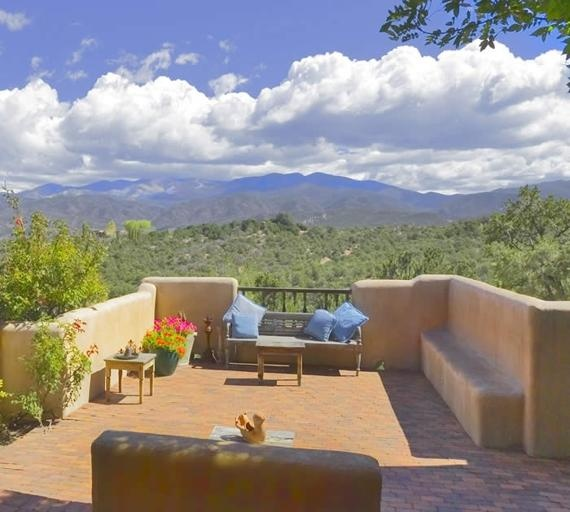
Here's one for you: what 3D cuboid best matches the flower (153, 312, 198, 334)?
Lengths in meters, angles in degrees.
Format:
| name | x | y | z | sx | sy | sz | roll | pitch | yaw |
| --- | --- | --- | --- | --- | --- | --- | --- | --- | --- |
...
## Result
| name | x | y | z | sx | sy | sz | roll | pitch | yaw |
| --- | --- | --- | --- | --- | --- | --- | --- | --- | --- |
| flower | -1.442 | 0.850 | 5.984 | 0.323 | 0.256 | 0.430 | 3 | 0 | 4 |

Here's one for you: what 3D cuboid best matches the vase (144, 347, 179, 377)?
| name | x | y | z | sx | sy | sz | roll | pitch | yaw |
| --- | --- | --- | --- | --- | --- | --- | --- | --- | --- |
| vase | -1.523 | 1.307 | 5.514 | 0.316 | 0.288 | 0.351 | 0 | -8 | -2 |

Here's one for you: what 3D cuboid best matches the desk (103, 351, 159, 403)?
| name | x | y | z | sx | sy | sz | roll | pitch | yaw |
| --- | --- | --- | --- | --- | --- | --- | --- | --- | --- |
| desk | -1.742 | 1.335 | 4.750 | 0.556 | 0.433 | 0.574 | -3 | -12 | 22 |

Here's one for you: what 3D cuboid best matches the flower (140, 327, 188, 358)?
| name | x | y | z | sx | sy | sz | roll | pitch | yaw |
| --- | --- | --- | --- | --- | --- | --- | --- | --- | --- |
| flower | -1.529 | 1.077 | 5.534 | 0.361 | 0.288 | 0.414 | 4 | -9 | -22 |

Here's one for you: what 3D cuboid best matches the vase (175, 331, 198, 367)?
| name | x | y | z | sx | sy | sz | roll | pitch | yaw |
| --- | --- | --- | --- | --- | --- | --- | --- | --- | --- |
| vase | -1.342 | 1.292 | 6.100 | 0.320 | 0.335 | 0.379 | 2 | -3 | 1 |

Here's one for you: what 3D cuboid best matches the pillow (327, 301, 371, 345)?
| name | x | y | z | sx | sy | sz | roll | pitch | yaw |
| --- | --- | --- | --- | --- | --- | --- | --- | --- | --- |
| pillow | 0.831 | 0.876 | 5.897 | 0.460 | 0.453 | 0.528 | 2 | 5 | -8 |

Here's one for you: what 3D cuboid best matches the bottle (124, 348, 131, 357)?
| name | x | y | z | sx | sy | sz | roll | pitch | yaw |
| --- | --- | --- | --- | --- | --- | --- | --- | --- | --- |
| bottle | -1.675 | 1.022 | 4.657 | 0.060 | 0.074 | 0.069 | 1 | -5 | -4 |

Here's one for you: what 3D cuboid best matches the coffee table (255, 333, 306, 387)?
| name | x | y | z | sx | sy | sz | roll | pitch | yaw |
| --- | --- | --- | --- | --- | --- | --- | --- | --- | --- |
| coffee table | -0.068 | 1.305 | 5.647 | 0.610 | 0.532 | 0.807 | 2 | 5 | -1 |

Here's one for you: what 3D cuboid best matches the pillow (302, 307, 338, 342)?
| name | x | y | z | sx | sy | sz | roll | pitch | yaw |
| --- | --- | --- | --- | --- | --- | --- | --- | --- | --- |
| pillow | 0.486 | 0.912 | 5.881 | 0.369 | 0.388 | 0.119 | 9 | -25 | 47 |

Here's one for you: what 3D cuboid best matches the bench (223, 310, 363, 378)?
| name | x | y | z | sx | sy | sz | roll | pitch | yaw |
| --- | --- | --- | --- | --- | --- | --- | --- | --- | --- |
| bench | 0.122 | 1.174 | 5.874 | 1.743 | 0.882 | 0.631 | 2 | 1 | -6 |
